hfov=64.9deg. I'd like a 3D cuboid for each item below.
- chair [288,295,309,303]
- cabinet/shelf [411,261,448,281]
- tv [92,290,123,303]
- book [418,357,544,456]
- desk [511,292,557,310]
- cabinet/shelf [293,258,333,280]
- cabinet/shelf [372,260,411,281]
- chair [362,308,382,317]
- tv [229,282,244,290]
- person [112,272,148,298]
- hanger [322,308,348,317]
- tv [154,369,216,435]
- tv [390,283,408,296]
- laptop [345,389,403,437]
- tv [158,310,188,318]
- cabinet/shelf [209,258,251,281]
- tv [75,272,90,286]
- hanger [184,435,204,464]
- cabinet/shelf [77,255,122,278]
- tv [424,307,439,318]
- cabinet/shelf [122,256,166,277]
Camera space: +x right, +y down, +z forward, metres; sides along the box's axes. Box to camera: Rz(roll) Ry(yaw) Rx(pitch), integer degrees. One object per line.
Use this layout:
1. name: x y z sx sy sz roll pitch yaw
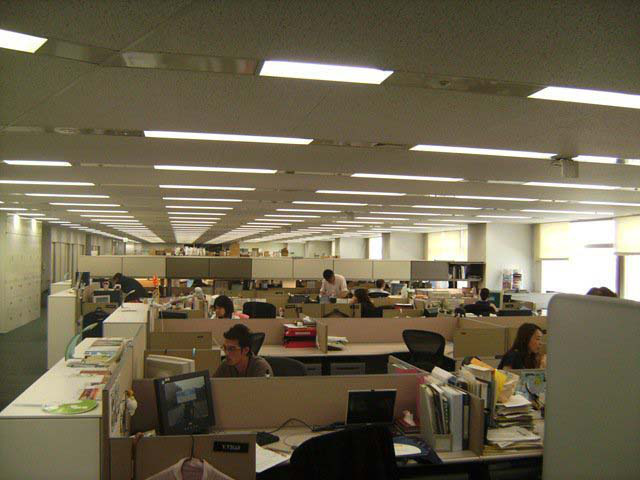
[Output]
1. chair: -0.361 0.964 8.300 0.338 0.109 0.189 2 -5 -7
2. cabinet/shelf: 2.120 0.584 9.795 0.296 0.378 1.121 -1 -6 41
3. tv: -3.326 0.849 7.822 0.462 0.211 0.294 5 -10 -6
4. book: 1.113 1.140 3.422 0.776 0.323 0.503 2 -1 -13
5. desk: 4.739 1.362 11.284 1.029 0.343 0.420 5 -5 -34
6. cabinet/shelf: -0.134 0.508 9.066 0.707 0.372 0.272 2 -4 -1
7. cabinet/shelf: 1.317 0.554 9.412 0.833 0.353 0.203 3 -4 -15
8. chair: 0.751 1.078 7.553 0.283 0.132 0.446 1 -5 15
9. tv: -1.521 0.824 9.131 0.165 0.141 0.280 1 -3 2
10. person: -3.056 0.724 8.193 0.486 0.373 1.463 5 -6 -29
11. hanger: 0.183 1.052 7.289 0.284 0.095 0.157 -1 -3 1
12. tv: -0.796 1.052 3.271 0.408 0.350 0.217 -18 -21 18
13. tv: 1.756 1.087 11.201 0.373 0.236 0.319 -1 7 3
14. laptop: 0.369 1.174 3.356 0.403 0.278 0.309 5 2 3
15. tv: -1.743 0.881 5.965 0.312 0.078 0.505 3 -5 -16
16. cabinet/shelf: -1.528 0.477 8.612 0.732 0.372 0.183 3 -4 -14
17. tv: -3.727 0.606 7.906 0.157 0.139 0.273 20 -16 -12
18. hanger: -0.659 1.099 2.649 0.081 0.125 0.039 -4 -8 33
19. cabinet/shelf: -3.695 0.437 8.451 0.747 0.358 0.364 3 -4 -10
20. tv: 1.644 1.067 7.509 0.230 0.104 0.272 2 -5 1
21. cabinet/shelf: -2.933 0.434 8.384 0.758 0.355 0.209 1 -4 10
